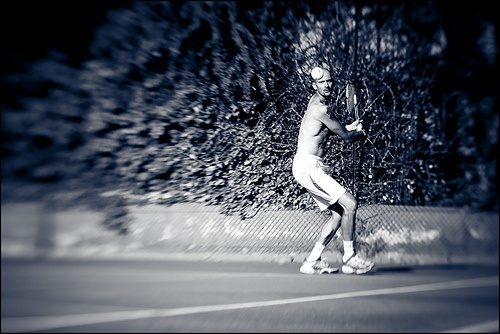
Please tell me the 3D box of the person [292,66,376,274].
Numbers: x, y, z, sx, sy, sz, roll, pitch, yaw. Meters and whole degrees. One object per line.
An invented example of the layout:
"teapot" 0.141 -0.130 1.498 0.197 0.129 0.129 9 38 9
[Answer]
"person" 1.043 0.055 4.670 0.961 2.720 0.352 -1 1 5

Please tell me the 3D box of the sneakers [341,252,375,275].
"sneakers" 1.415 1.278 4.652 0.547 0.213 0.193 -2 3 4

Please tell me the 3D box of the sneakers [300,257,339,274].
"sneakers" 0.902 1.340 4.813 0.554 0.198 0.177 2 -4 -8

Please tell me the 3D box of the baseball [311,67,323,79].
"baseball" 0.865 -1.223 4.582 0.155 0.158 0.093 -1 1 23
